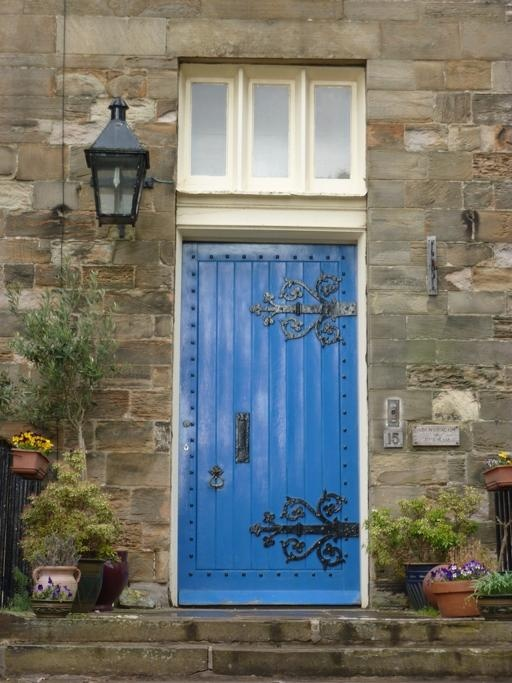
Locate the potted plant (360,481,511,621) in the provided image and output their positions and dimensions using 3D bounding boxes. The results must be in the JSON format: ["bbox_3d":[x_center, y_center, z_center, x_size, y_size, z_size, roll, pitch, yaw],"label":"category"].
[{"bbox_3d":[1.115,1.236,8.998,1.116,1.083,0.716,0,-17,-3],"label":"potted plant"}]

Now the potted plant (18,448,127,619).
[{"bbox_3d":[-1.123,1.116,8.406,0.568,0.900,1.163,0,-3,-4],"label":"potted plant"}]

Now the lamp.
[{"bbox_3d":[-0.914,-1.093,9.155,0.398,0.638,0.332,0,-3,-6],"label":"lamp"}]

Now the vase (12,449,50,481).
[{"bbox_3d":[-1.398,0.816,8.680,0.181,0.141,0.277,-4,-19,11],"label":"vase"}]
